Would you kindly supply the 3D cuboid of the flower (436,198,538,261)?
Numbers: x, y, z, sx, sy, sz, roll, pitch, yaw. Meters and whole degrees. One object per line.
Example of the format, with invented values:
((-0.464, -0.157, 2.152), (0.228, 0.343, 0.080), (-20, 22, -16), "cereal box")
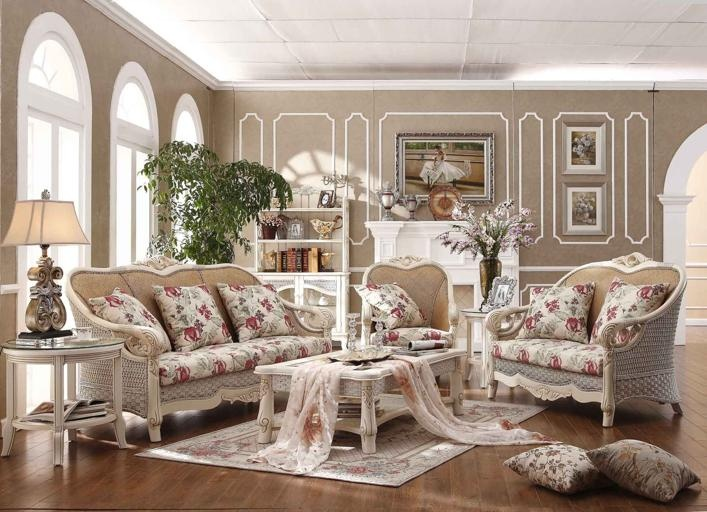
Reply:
((1.541, -0.247, 6.392), (1.053, 0.745, 1.032), (-3, -3, 33), "flower")

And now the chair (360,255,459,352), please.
((0.562, 0.530, 5.971), (0.919, 1.022, 0.710), (0, 9, -4), "chair")

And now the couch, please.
((-1.279, 0.756, 5.333), (1.165, 1.272, 2.460), (1, 0, 29), "couch")

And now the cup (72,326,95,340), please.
((-1.961, 0.557, 4.260), (0.106, 0.076, 0.154), (1, -9, -10), "cup")

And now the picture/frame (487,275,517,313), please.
((1.472, 0.374, 5.837), (0.038, 0.447, 0.343), (26, -13, -37), "picture/frame")

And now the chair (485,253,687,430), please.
((2.025, 0.667, 5.307), (1.143, 1.282, 1.708), (-2, -2, -31), "chair")

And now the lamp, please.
((-2.207, 0.050, 4.211), (0.545, 1.047, 0.461), (-2, 4, -27), "lamp")

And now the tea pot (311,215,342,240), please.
((-0.359, -0.396, 7.869), (0.463, 0.339, 0.243), (0, -3, -5), "tea pot")

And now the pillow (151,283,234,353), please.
((-1.374, 0.477, 4.943), (0.171, 0.533, 0.567), (-36, -14, 25), "pillow")

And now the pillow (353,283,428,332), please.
((0.410, 0.501, 5.966), (0.661, 0.425, 0.402), (-2, 4, -33), "pillow")

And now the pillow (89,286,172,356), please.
((-1.670, 0.518, 4.528), (0.688, 0.512, 0.452), (1, 4, 33), "pillow")

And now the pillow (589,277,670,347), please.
((2.180, 0.479, 4.789), (0.807, 0.534, 0.483), (-3, 4, -40), "pillow")

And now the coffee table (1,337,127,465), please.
((-2.011, 0.998, 4.231), (0.820, 0.735, 0.829), (0, 0, -10), "coffee table")
